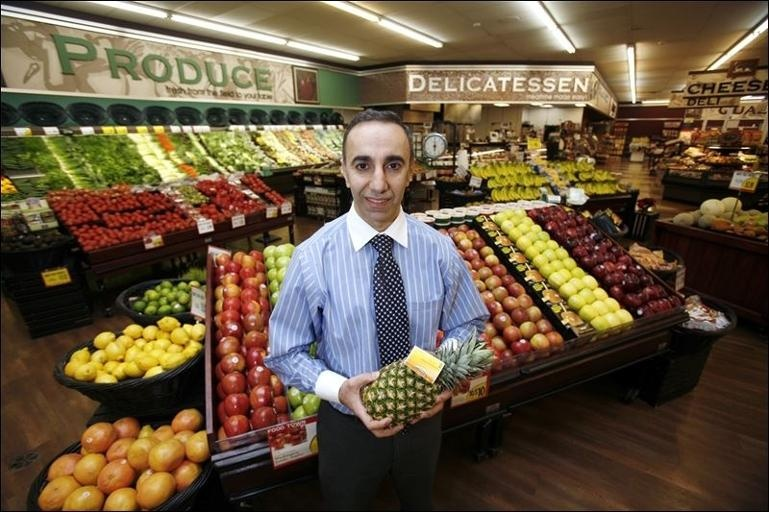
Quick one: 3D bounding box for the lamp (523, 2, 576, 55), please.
[{"bbox_3d":[1.069,-1.636,2.605,0.131,0.166,2.169,3,22,25],"label":"lamp"}]
